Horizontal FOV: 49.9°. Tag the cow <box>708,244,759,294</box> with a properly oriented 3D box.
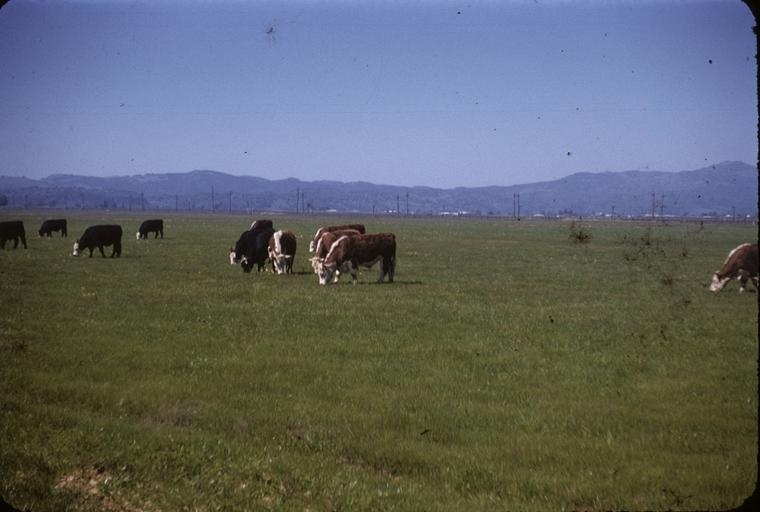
[{"bbox_3d":[15.222,0.520,35.189,1.784,2.228,2.370,2,1,20],"label":"cow"}]

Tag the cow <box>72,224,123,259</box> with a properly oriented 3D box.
[{"bbox_3d":[-16.085,-0.879,47.074,0.959,1.997,3.406,3,7,39],"label":"cow"}]
